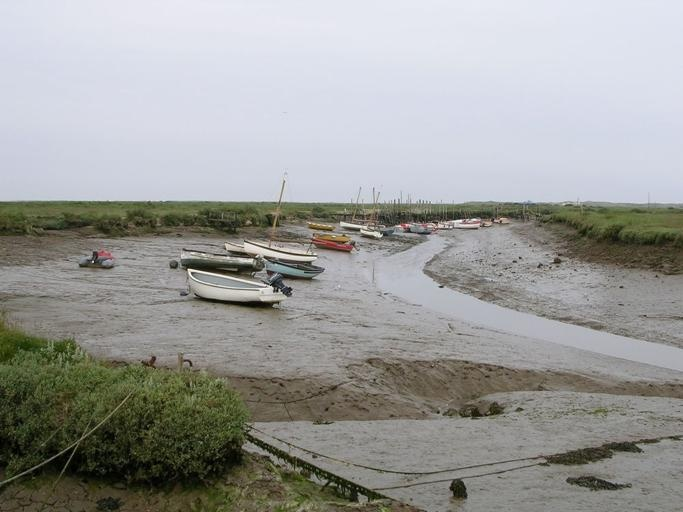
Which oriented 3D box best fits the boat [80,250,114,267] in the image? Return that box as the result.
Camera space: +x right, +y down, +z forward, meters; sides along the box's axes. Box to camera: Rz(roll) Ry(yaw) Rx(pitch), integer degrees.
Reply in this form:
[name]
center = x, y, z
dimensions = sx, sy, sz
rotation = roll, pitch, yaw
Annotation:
[boat]
center = -13.489, 0.181, 36.042
dimensions = 1.482, 0.452, 1.613
rotation = 2, 4, -1
